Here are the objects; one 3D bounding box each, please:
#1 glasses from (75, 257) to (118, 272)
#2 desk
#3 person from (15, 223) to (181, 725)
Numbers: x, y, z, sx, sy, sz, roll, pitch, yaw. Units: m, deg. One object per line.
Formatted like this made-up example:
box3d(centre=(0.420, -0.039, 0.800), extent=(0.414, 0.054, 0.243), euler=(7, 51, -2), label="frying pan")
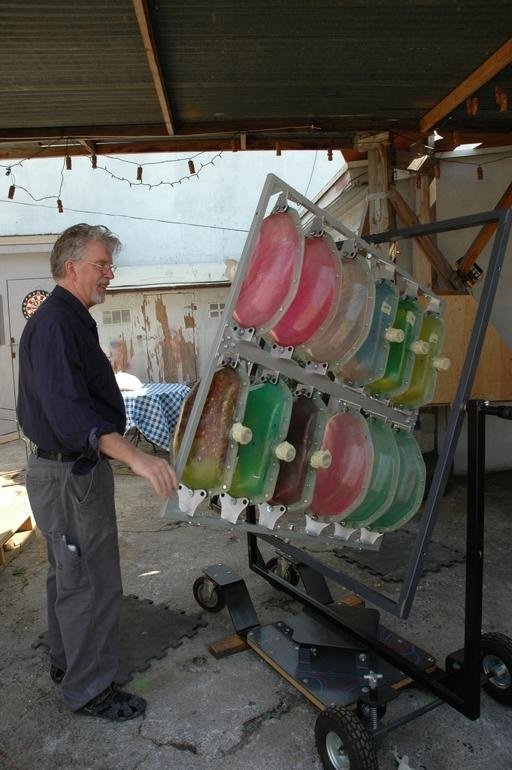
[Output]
box3d(centre=(-0.608, -0.453, 2.216), extent=(0.080, 0.022, 0.077), euler=(11, 4, 33), label="glasses")
box3d(centre=(-1.042, 0.278, 6.302), extent=(0.869, 0.673, 0.913), euler=(-1, -1, -21), label="desk")
box3d(centre=(-0.635, 0.329, 2.109), extent=(0.412, 1.875, 0.943), euler=(-3, 5, -19), label="person")
